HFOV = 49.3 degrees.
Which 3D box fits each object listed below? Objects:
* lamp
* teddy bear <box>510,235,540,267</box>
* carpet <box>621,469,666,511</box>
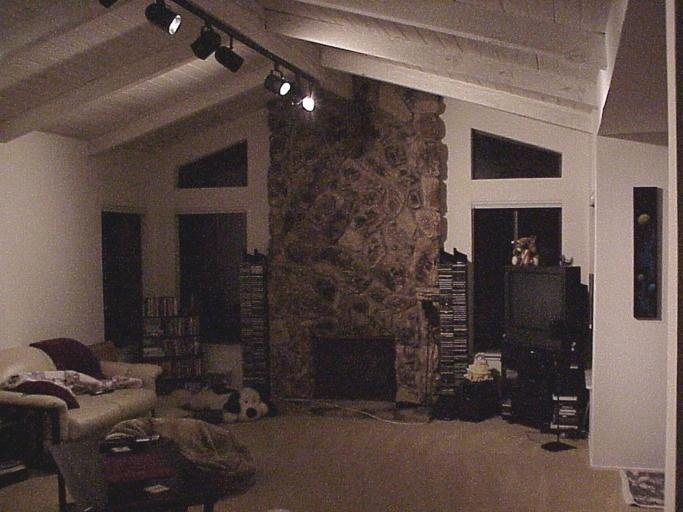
[{"bbox_3d":[-0.928,-1.950,7.431,0.783,0.949,2.550,3,12,18],"label":"lamp"},{"bbox_3d":[2.104,-0.053,8.409,0.339,0.367,0.288,-1,5,-41],"label":"teddy bear"},{"bbox_3d":[2.739,2.092,6.723,0.362,0.099,0.577,3,12,19],"label":"carpet"}]
